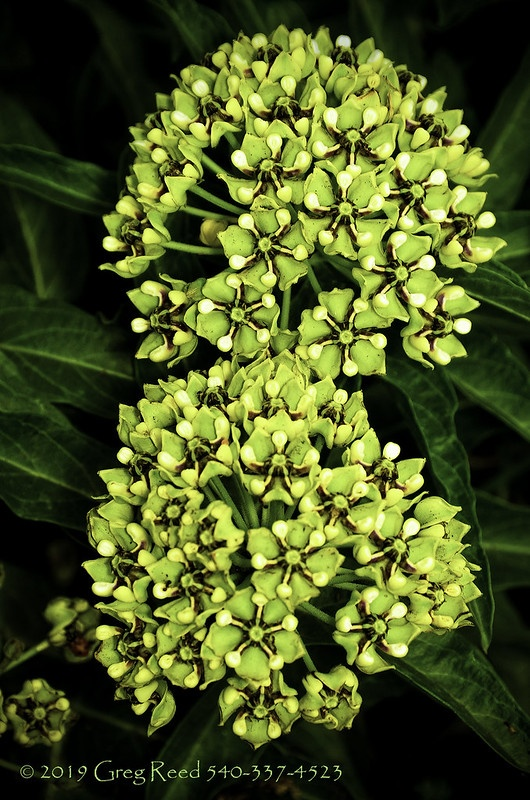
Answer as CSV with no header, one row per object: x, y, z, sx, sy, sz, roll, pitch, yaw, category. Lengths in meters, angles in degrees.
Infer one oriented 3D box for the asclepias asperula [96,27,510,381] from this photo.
0.087,-0.474,2.115,1.028,0.572,0.940,-11,78,-2,asclepias asperula
